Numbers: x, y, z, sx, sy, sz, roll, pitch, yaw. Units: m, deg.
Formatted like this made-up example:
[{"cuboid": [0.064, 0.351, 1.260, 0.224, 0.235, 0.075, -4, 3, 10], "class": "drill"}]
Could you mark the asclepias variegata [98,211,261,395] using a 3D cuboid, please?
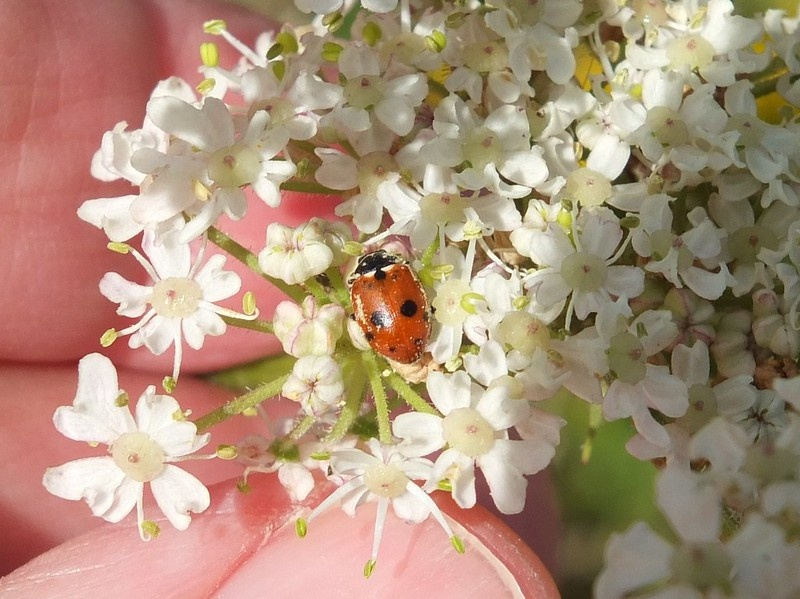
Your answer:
[{"cuboid": [-0.447, 0.008, 1.691, 0.299, 0.318, 0.113, -13, -1, 2], "class": "asclepias variegata"}]

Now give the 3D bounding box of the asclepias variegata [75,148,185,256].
[{"cuboid": [-0.530, -0.183, 1.682, 0.165, 0.186, 0.072, -20, -11, 30], "class": "asclepias variegata"}]

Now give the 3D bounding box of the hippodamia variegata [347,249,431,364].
[{"cuboid": [-0.022, 0.012, 1.662, 0.152, 0.216, 0.072, -20, -13, -5], "class": "hippodamia variegata"}]
